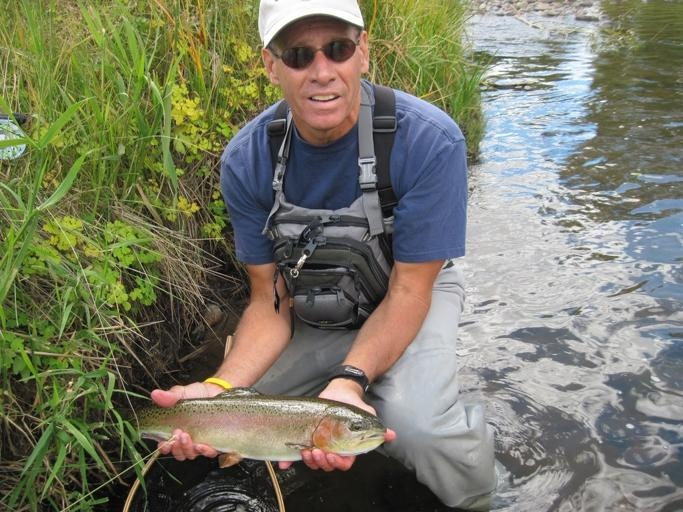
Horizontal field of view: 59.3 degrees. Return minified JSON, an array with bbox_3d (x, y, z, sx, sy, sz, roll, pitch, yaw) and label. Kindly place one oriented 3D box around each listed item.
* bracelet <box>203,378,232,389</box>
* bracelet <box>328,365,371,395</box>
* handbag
[{"bbox_3d":[-0.630,0.653,3.098,0.091,0.020,0.086,15,-2,-21],"label":"bracelet"},{"bbox_3d":[0.047,0.593,2.978,0.163,0.136,0.056,4,31,10],"label":"bracelet"},{"bbox_3d":[-0.049,0.069,3.427,0.738,0.818,0.489,4,39,27],"label":"handbag"}]
